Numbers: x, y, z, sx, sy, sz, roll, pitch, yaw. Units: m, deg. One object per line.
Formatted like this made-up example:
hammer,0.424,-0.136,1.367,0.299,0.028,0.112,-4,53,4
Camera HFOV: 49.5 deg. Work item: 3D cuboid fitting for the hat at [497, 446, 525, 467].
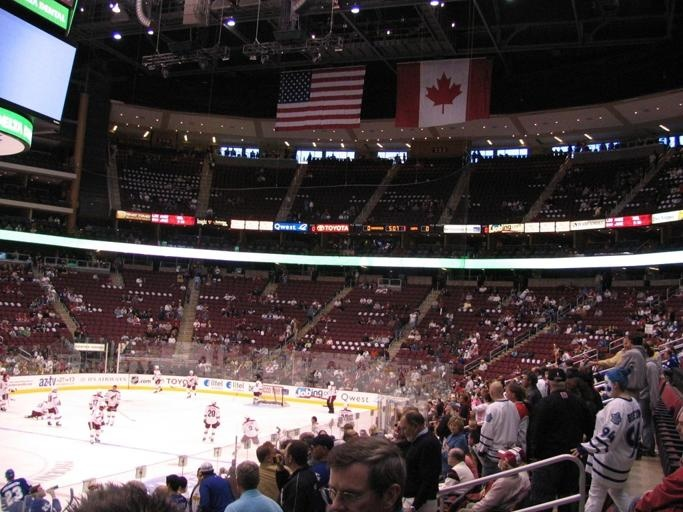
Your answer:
hat,3.447,4.111,14.980,0.551,0.288,0.369,13,24,21

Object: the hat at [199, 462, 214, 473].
hat,-2.843,4.421,15.542,0.267,0.190,0.409,-7,11,-9

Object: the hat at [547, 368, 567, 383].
hat,4.465,2.515,15.643,0.350,0.252,0.572,7,-9,11

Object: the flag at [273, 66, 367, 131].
flag,-1.109,-7.956,36.996,6.220,4.306,0.300,0,-1,12
